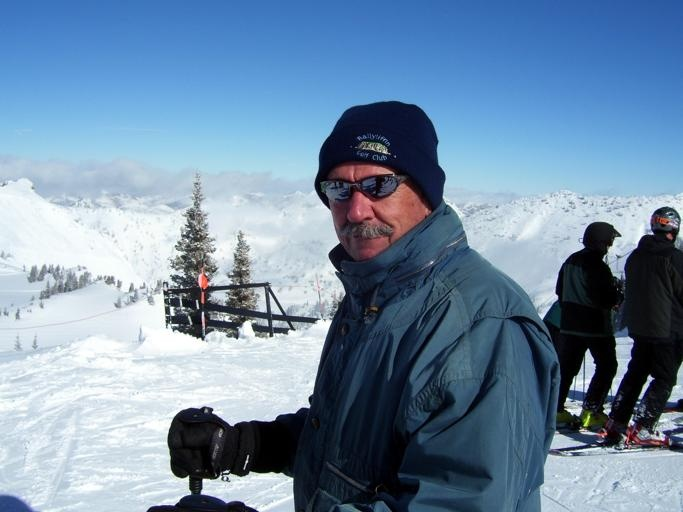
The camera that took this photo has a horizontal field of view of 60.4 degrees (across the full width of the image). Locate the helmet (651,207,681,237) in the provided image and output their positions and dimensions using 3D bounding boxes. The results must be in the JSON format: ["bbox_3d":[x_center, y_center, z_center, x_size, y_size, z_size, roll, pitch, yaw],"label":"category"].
[{"bbox_3d":[3.259,-0.339,5.893,0.251,0.318,0.337,5,6,39],"label":"helmet"}]

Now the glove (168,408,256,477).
[{"bbox_3d":[-0.705,1.036,3.287,0.469,0.350,0.408,8,3,-15],"label":"glove"}]
